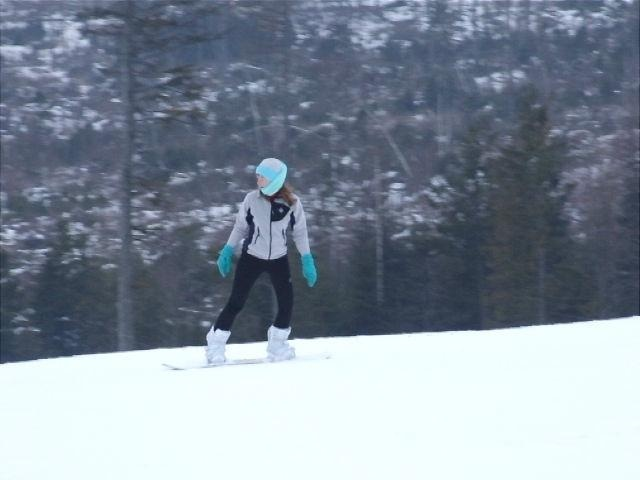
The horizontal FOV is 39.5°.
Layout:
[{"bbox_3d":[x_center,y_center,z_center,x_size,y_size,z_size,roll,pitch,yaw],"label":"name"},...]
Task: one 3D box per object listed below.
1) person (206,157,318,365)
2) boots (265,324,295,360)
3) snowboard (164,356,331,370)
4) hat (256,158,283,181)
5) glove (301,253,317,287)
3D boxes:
[{"bbox_3d":[-0.549,0.158,7.925,1.029,1.761,0.761,-3,7,-8],"label":"person"},{"bbox_3d":[-0.357,0.926,7.851,0.366,0.287,0.205,1,-6,-11],"label":"boots"},{"bbox_3d":[-0.652,1.045,7.660,1.379,0.037,0.267,-2,6,-11],"label":"snowboard"},{"bbox_3d":[-0.419,-0.624,7.850,0.257,0.157,0.166,16,2,-21],"label":"hat"},{"bbox_3d":[-0.098,0.259,8.100,0.191,0.275,0.114,1,2,-3],"label":"glove"}]
